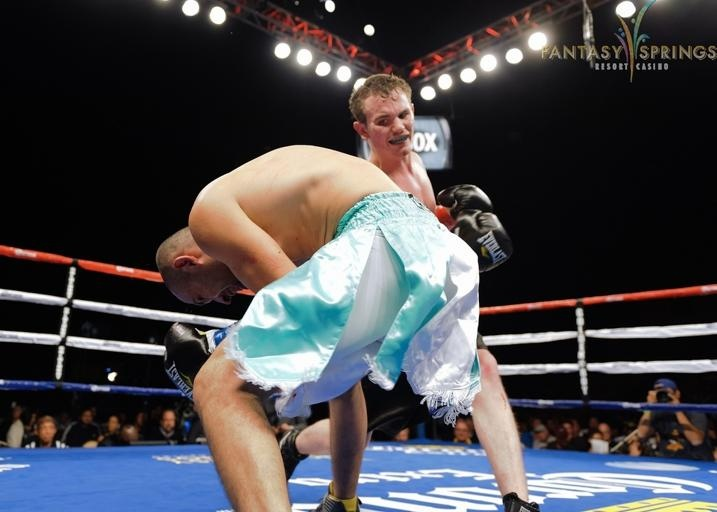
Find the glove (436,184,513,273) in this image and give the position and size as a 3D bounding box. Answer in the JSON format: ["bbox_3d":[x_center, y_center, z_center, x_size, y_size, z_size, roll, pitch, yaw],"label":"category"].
[{"bbox_3d":[0.810,-0.208,4.399,0.277,0.619,0.462,-7,-38,-43],"label":"glove"}]

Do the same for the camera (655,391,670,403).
[{"bbox_3d":[3.017,1.395,6.368,0.097,0.113,0.106,-12,-5,30],"label":"camera"}]
